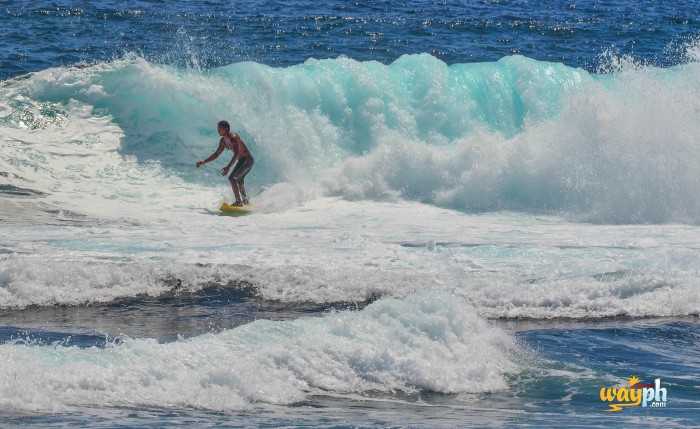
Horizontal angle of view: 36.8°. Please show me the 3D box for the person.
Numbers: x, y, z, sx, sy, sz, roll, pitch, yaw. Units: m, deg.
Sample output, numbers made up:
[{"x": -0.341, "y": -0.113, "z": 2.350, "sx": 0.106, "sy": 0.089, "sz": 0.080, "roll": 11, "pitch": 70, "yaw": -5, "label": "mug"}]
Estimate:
[{"x": -3.217, "y": -1.364, "z": 28.054, "sx": 1.237, "sy": 2.280, "sz": 1.475, "roll": -1, "pitch": 4, "yaw": -8, "label": "person"}]
